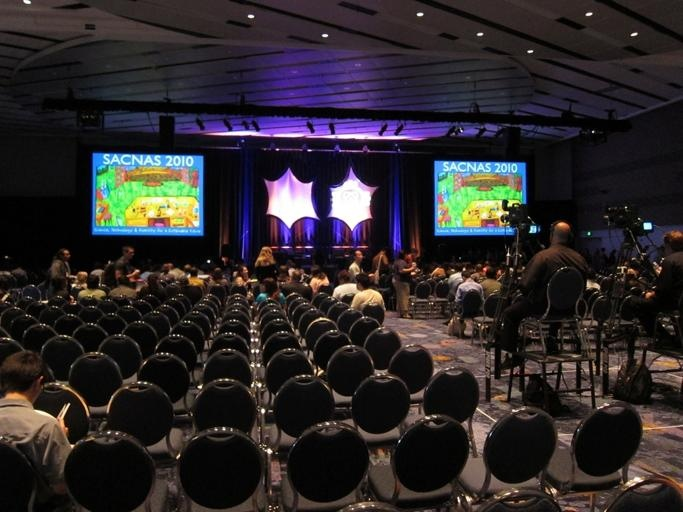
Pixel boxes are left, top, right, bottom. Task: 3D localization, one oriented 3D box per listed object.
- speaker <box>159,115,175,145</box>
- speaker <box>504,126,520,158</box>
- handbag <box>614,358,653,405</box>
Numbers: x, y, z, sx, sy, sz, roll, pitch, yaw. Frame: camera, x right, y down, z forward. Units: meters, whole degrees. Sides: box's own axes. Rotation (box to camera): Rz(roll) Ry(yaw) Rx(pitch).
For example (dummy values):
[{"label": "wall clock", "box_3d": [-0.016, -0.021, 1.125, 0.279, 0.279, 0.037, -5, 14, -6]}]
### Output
[{"label": "speaker", "box_3d": [-5.250, -3.732, 16.683, 0.409, 0.875, 0.666, 0, 2, -23]}, {"label": "speaker", "box_3d": [5.910, -3.969, 18.930, 0.623, 1.119, 0.487, -6, 40, 8]}, {"label": "handbag", "box_3d": [3.638, 1.513, 6.884, 0.468, 0.376, 0.145, -2, 46, -23]}]
